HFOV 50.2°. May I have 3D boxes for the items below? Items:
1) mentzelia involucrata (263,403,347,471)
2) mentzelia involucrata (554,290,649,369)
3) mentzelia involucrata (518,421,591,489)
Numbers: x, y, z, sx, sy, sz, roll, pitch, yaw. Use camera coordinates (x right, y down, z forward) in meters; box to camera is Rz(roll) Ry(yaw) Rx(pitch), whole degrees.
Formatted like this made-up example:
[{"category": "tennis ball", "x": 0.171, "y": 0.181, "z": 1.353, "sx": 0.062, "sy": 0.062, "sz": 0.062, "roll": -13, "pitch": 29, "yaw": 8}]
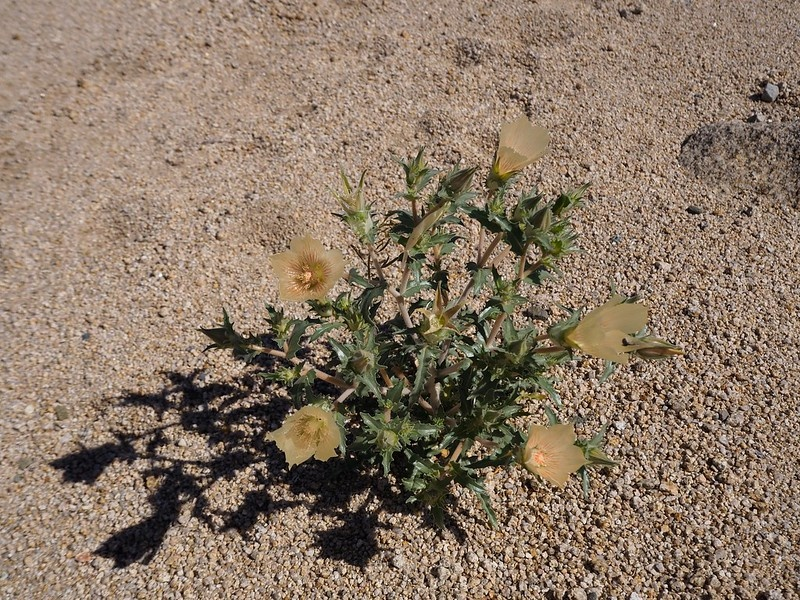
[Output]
[{"category": "mentzelia involucrata", "x": -0.629, "y": 0.983, "z": 6.326, "sx": 0.369, "sy": 0.538, "sz": 0.189, "roll": -13, "pitch": 41, "yaw": 3}, {"category": "mentzelia involucrata", "x": 1.473, "y": 0.210, "z": 6.167, "sx": 0.503, "sy": 0.475, "sz": 0.543, "roll": 3, "pitch": 87, "yaw": 36}, {"category": "mentzelia involucrata", "x": 1.126, "y": 1.135, "z": 6.278, "sx": 0.455, "sy": 0.258, "sz": 0.432, "roll": -1, "pitch": 80, "yaw": 2}]
